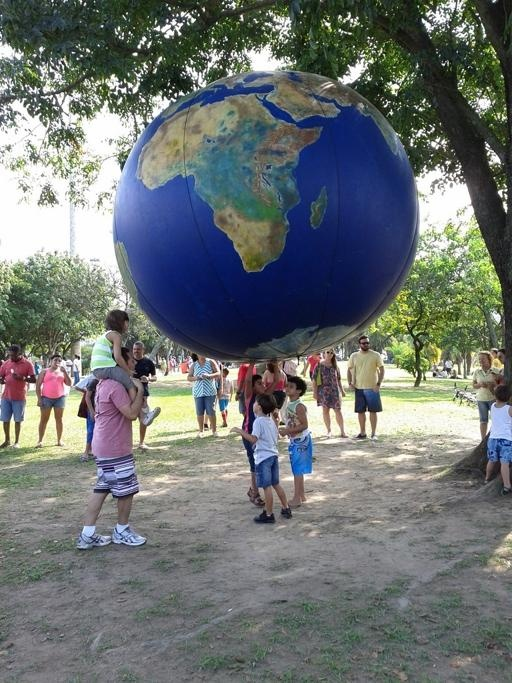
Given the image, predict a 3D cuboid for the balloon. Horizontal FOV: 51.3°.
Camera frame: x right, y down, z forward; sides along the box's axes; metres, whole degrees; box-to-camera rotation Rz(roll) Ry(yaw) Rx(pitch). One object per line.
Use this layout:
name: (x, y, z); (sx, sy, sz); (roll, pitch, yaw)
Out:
balloon: (0.075, -0.508, 2.461); (1.184, 1.205, 1.193); (-9, 0, -2)

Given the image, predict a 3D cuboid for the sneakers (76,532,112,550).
sneakers: (-1.359, 1.696, 4.584); (0.319, 0.152, 0.117); (1, 2, -35)

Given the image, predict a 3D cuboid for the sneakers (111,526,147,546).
sneakers: (-1.078, 1.671, 4.592); (0.304, 0.152, 0.128); (5, 1, 5)

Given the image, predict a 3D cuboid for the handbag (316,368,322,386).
handbag: (1.132, 0.624, 9.588); (0.095, 0.292, 0.129); (-1, -1, 3)

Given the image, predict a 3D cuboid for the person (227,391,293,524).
person: (0.090, 1.138, 5.319); (0.519, 1.232, 0.460); (-1, -1, 3)
